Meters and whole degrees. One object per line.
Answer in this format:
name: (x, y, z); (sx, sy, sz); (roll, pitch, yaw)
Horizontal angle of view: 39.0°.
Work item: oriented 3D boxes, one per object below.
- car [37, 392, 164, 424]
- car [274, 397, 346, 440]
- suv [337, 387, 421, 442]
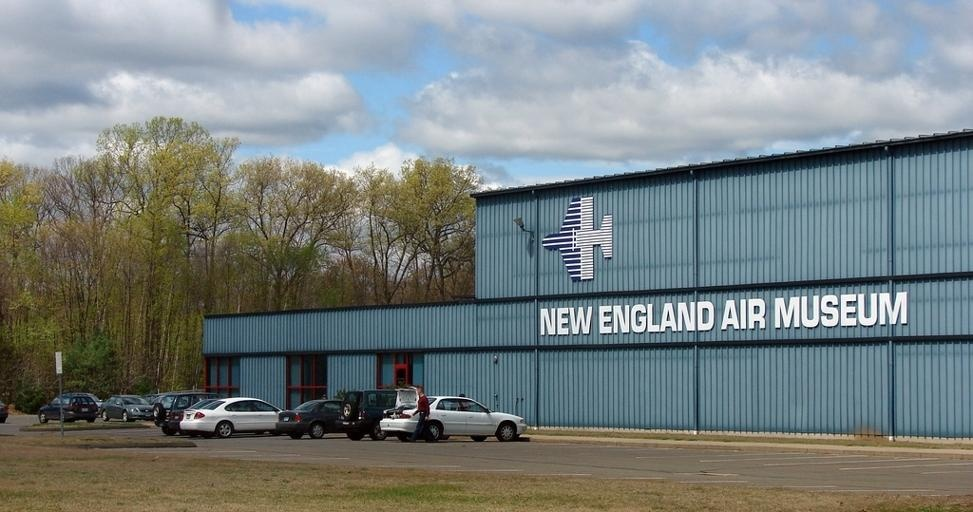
car: (-26.405, 11.118, 99.282); (7.443, 3.318, 3.572); (-4, -7, 31)
car: (-10.406, 9.735, 81.651); (3.720, 2.182, 1.536); (-2, 7, -4)
suv: (-5.616, 9.979, 82.126); (6.455, 2.943, 3.116); (16, -10, -38)
